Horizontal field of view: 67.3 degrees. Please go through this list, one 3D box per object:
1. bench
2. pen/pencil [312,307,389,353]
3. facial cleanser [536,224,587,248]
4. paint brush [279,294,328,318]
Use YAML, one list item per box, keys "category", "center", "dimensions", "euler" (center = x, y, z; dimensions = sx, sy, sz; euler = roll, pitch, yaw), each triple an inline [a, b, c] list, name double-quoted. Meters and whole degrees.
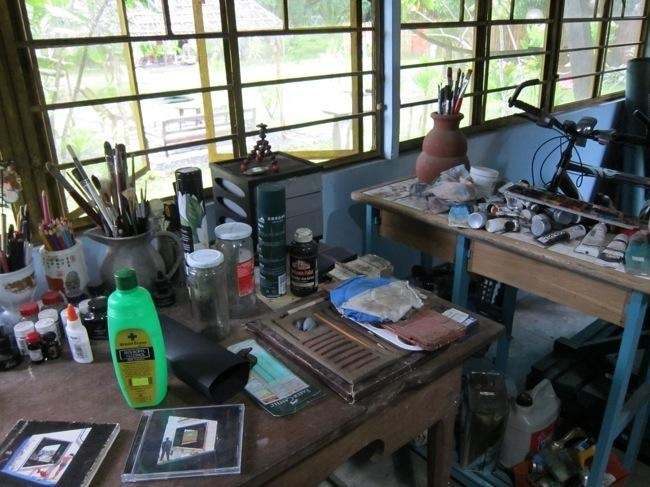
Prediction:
- category: "bench"
  center: [-0.592, -0.506, 2.210]
  dimensions: [0.282, 0.118, 0.103]
  euler: [-16, 39, -17]
- category: "pen/pencil"
  center: [0.079, 0.253, 1.406]
  dimensions: [0.189, 0.026, 0.027]
  euler: [30, 66, 30]
- category: "facial cleanser"
  center: [0.907, -0.037, 1.879]
  dimensions: [0.258, 0.043, 0.070]
  euler: [-15, 53, -22]
- category: "paint brush"
  center: [-0.064, 0.199, 1.540]
  dimensions: [0.123, 0.006, 0.017]
  euler: [-26, 41, -34]
